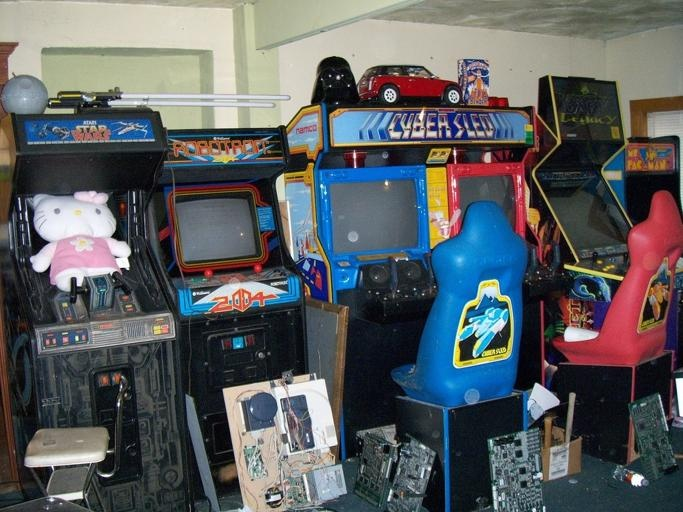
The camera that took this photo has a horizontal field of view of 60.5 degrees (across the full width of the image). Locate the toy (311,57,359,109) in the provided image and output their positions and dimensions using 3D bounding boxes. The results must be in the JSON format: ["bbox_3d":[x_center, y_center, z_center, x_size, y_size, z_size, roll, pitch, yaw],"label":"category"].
[{"bbox_3d":[-0.052,-1.260,4.179,0.314,0.348,0.341,-3,5,6],"label":"toy"}]

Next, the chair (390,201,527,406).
[{"bbox_3d":[0.672,0.289,3.450,0.730,1.096,0.689,-5,5,-40],"label":"chair"}]

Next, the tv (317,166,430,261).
[{"bbox_3d":[0.206,-0.287,4.238,0.821,0.731,0.280,-6,6,-21],"label":"tv"}]

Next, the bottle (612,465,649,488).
[{"bbox_3d":[1.787,1.365,3.613,0.132,0.048,0.085,27,35,29],"label":"bottle"}]

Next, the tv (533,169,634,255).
[{"bbox_3d":[1.983,-0.372,5.061,0.712,0.260,0.961,0,40,8],"label":"tv"}]

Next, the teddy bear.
[{"bbox_3d":[-1.530,-0.118,3.402,0.541,0.552,0.341,-7,6,-35],"label":"teddy bear"}]

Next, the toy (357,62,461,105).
[{"bbox_3d":[0.534,-1.255,4.330,0.637,0.271,0.389,-7,13,-23],"label":"toy"}]

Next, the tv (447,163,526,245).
[{"bbox_3d":[1.166,-0.528,4.782,0.613,0.306,0.614,15,0,14],"label":"tv"}]
